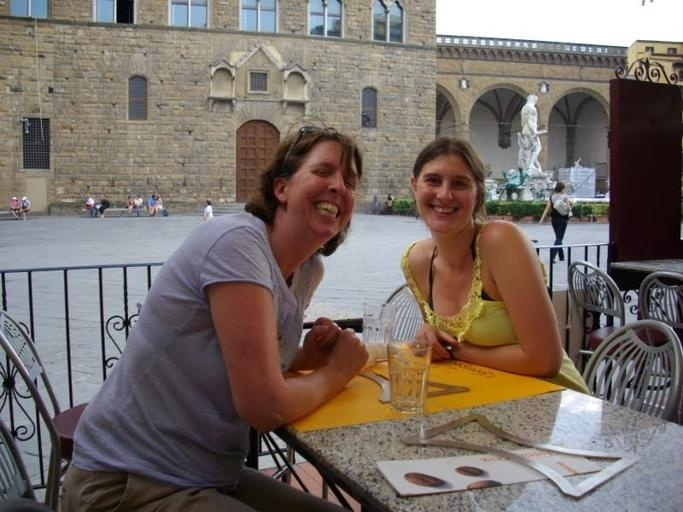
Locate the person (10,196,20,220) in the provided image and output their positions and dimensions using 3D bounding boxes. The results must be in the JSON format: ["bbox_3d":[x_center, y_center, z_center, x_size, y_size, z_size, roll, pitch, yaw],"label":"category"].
[{"bbox_3d":[-10.131,-1.477,21.441,0.245,0.662,1.169,-1,3,-25],"label":"person"}]

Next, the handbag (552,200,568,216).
[{"bbox_3d":[3.608,-0.791,11.420,0.116,0.148,0.202,-36,6,4],"label":"handbag"}]

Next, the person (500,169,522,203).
[{"bbox_3d":[6.074,-2.639,24.312,0.924,1.534,0.578,4,-31,18],"label":"person"}]

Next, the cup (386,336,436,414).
[{"bbox_3d":[0.236,0.422,2.421,0.144,0.231,0.154,3,1,0],"label":"cup"}]

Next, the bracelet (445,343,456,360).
[{"bbox_3d":[0.457,0.400,2.889,0.048,0.058,0.042,2,-18,18],"label":"bracelet"}]

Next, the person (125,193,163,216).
[{"bbox_3d":[-6.487,-1.615,22.821,1.101,0.672,0.706,-2,9,-12],"label":"person"}]

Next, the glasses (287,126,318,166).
[{"bbox_3d":[-0.147,-0.398,2.456,0.033,0.115,0.112,39,24,19],"label":"glasses"}]

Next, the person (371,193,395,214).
[{"bbox_3d":[1.495,-1.782,24.849,0.485,0.644,1.003,2,4,-5],"label":"person"}]

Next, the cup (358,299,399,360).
[{"bbox_3d":[0.149,0.310,2.901,0.122,0.221,0.133,7,-6,1],"label":"cup"}]

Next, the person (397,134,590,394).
[{"bbox_3d":[0.483,0.089,2.981,0.777,1.061,0.641,-10,-8,3],"label":"person"}]
